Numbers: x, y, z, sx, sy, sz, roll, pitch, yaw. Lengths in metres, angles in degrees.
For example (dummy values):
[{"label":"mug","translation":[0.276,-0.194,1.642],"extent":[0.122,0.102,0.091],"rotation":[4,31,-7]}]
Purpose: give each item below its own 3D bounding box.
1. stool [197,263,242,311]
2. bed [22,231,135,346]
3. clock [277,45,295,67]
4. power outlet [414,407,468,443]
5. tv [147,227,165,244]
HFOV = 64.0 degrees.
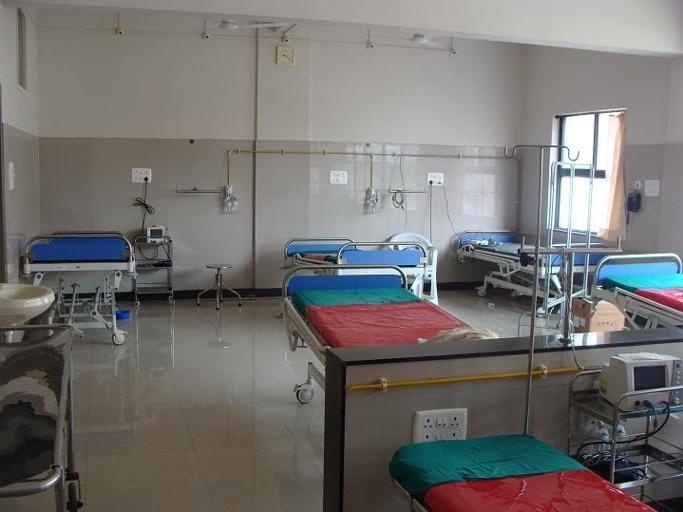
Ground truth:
[{"label":"stool","translation":[-1.596,0.366,7.175],"extent":[0.583,0.511,0.577],"rotation":[0,11,-4]},{"label":"bed","translation":[-2.548,0.290,5.295],"extent":[1.134,1.001,0.792],"rotation":[0,7,-10]},{"label":"clock","translation":[-0.736,-2.618,7.147],"extent":[0.291,0.287,0.050],"rotation":[0,6,-12]},{"label":"power outlet","translation":[0.477,0.820,2.626],"extent":[0.227,0.219,0.024],"rotation":[-4,27,-4]},{"label":"tv","translation":[-2.326,-0.265,6.864],"extent":[0.209,0.193,0.209],"rotation":[0,7,-8]}]
